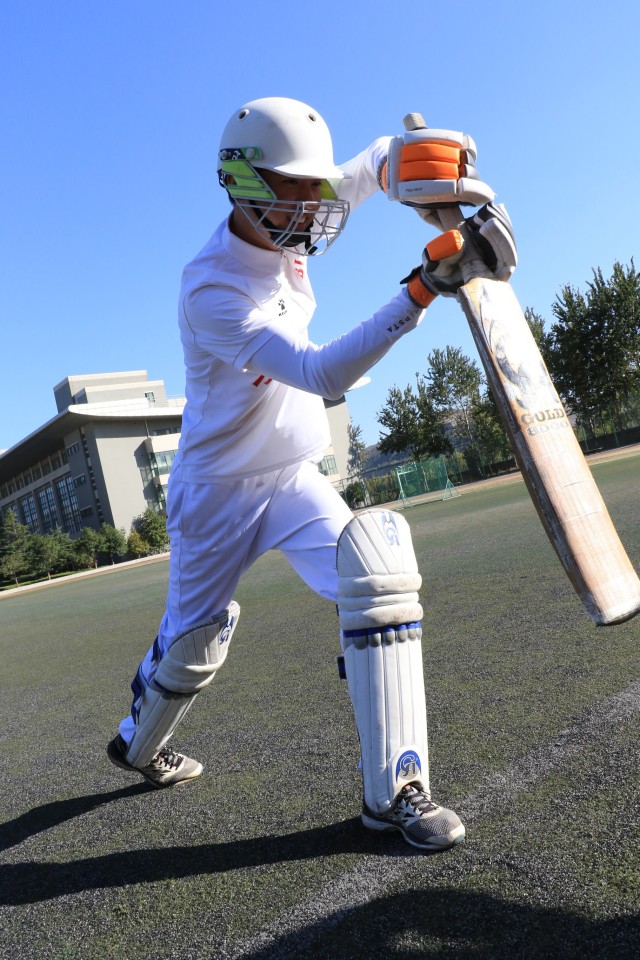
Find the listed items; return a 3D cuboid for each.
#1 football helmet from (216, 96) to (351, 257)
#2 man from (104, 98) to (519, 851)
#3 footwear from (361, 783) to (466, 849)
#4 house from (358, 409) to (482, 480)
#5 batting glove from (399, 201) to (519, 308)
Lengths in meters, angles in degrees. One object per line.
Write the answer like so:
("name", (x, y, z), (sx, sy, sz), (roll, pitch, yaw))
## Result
("football helmet", (-0.127, -0.991, 2.174), (0.449, 0.455, 0.355), (24, 29, 29))
("man", (-0.118, -0.039, 2.527), (1.744, 2.357, 1.015), (4, 12, 24))
("footwear", (0.238, 0.866, 1.759), (0.293, 0.128, 0.107), (1, -6, 38))
("house", (6.809, -3.519, 65.693), (7.737, 5.479, 6.972), (-10, -10, -10))
("batting glove", (0.414, -0.702, 2.076), (0.381, 0.173, 0.261), (-25, -7, -34))
